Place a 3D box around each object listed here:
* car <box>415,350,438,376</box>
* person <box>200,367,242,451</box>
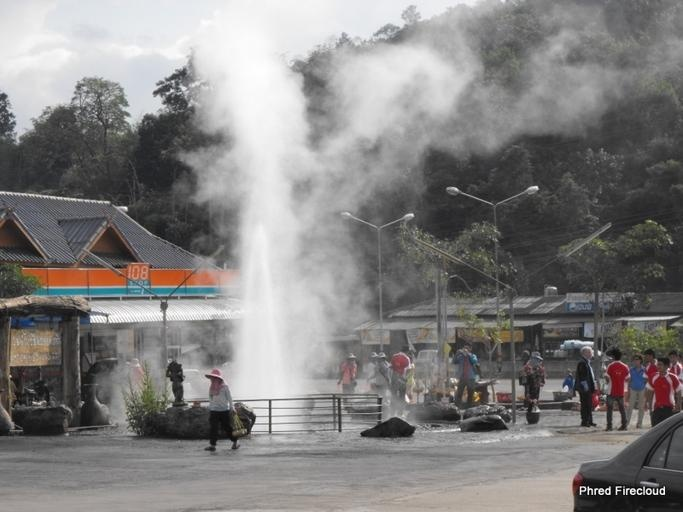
[{"bbox_3d":[5.330,6.708,95.109,1.264,1.169,2.170,1,5,45],"label":"car"},{"bbox_3d":[-5.106,6.462,61.746,1.246,3.503,0.929,-2,-10,-9],"label":"person"}]
